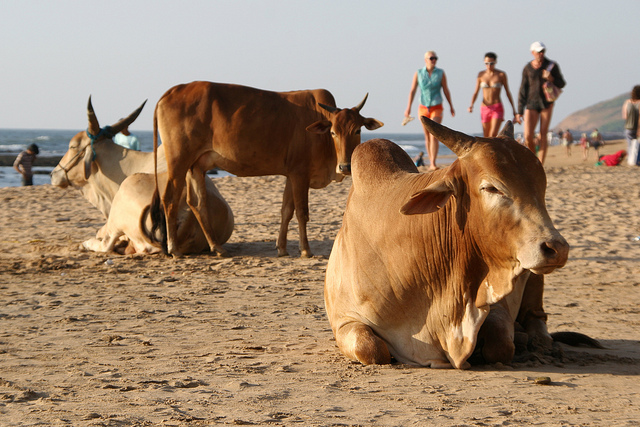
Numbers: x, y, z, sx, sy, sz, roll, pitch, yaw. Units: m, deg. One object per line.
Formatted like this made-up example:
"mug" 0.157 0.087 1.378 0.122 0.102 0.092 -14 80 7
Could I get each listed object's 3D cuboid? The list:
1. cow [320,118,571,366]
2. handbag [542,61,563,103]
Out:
"cow" 1.233 0.308 9.801 2.093 2.290 4.046 -4 5 -17
"handbag" 3.689 -2.079 15.427 0.283 0.653 0.234 4 12 19
